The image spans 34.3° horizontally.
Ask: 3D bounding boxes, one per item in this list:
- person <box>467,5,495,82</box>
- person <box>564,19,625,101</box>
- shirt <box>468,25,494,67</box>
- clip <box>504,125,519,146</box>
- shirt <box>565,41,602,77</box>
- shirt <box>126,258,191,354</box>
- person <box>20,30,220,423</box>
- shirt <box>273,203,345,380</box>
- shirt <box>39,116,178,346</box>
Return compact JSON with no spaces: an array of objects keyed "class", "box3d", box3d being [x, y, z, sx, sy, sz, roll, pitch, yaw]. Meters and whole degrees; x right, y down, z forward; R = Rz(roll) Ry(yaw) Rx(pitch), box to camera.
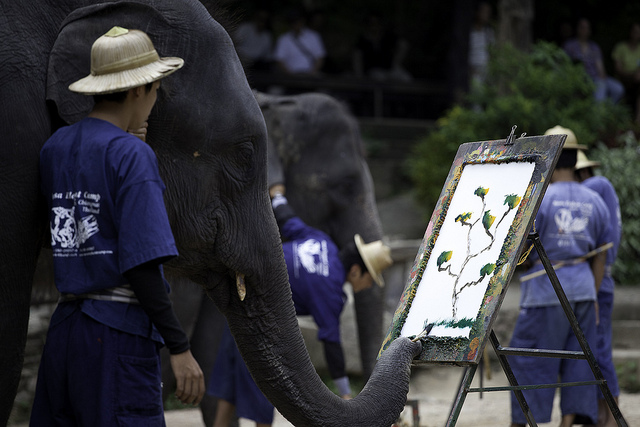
[{"class":"person","box3d":[1.917,-2.041,12.401,0.312,0.937,1.258,4,11,9]},{"class":"person","box3d":[3.391,-1.921,12.933,0.671,0.971,0.760,9,12,32]},{"class":"shirt","box3d":[1.952,-2.056,12.609,0.295,0.502,0.871,4,11,9]},{"class":"clip","box3d":[0.938,-0.373,5.072,0.018,0.108,0.055,23,-3,-34]},{"class":"shirt","box3d":[3.279,-1.933,12.892,0.457,0.423,0.481,3,11,4]},{"class":"shirt","box3d":[-0.685,0.397,4.452,0.118,0.387,0.272,-15,7,-10]},{"class":"person","box3d":[-0.895,0.076,4.467,0.695,1.716,0.512,-1,11,-17]},{"class":"shirt","box3d":[-0.114,0.590,6.519,0.316,1.281,0.365,-15,-4,16]},{"class":"shirt","box3d":[-0.963,0.116,4.659,0.847,0.986,0.495,-5,-11,34]}]
